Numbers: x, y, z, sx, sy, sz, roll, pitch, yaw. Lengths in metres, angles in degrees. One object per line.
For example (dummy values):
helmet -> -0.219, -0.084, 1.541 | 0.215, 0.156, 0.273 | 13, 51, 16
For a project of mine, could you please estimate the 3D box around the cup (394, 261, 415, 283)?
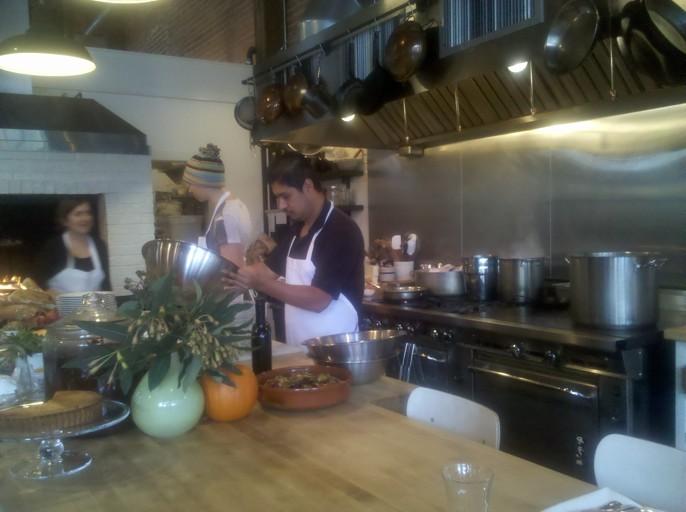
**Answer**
cup -> 0.481, 0.118, 4.147 | 0.140, 0.159, 0.144 | 0, -6, 0

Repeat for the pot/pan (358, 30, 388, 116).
pot/pan -> 0.158, -0.980, 2.791 | 0.147, 0.426, 0.245 | 0, 9, 2

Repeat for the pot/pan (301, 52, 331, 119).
pot/pan -> -0.157, -1.009, 3.115 | 0.112, 0.369, 0.412 | -5, 10, -24

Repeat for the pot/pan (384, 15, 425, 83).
pot/pan -> 0.294, -0.986, 2.520 | 0.122, 0.262, 0.211 | -5, 10, -27

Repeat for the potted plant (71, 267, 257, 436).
potted plant -> -0.547, 0.259, 1.696 | 0.499, 0.428, 0.488 | 2, -5, -7

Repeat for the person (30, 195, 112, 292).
person -> -2.511, -0.110, 4.879 | 0.824, 1.162, 0.432 | -1, -2, -30

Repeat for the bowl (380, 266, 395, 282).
bowl -> 0.349, 0.147, 4.151 | 0.110, 0.105, 0.111 | 0, -1, 0

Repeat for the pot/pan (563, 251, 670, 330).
pot/pan -> 1.232, 0.156, 2.374 | 0.472, 0.310, 0.331 | -1, -2, 17

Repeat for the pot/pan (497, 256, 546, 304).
pot/pan -> 1.047, 0.155, 3.206 | 0.288, 0.259, 0.228 | 1, 0, -7

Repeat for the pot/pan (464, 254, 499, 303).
pot/pan -> 0.882, 0.153, 3.365 | 0.262, 0.284, 0.251 | -2, 0, -35

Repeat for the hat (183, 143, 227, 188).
hat -> -0.949, -0.652, 3.689 | 0.293, 0.314, 0.310 | 12, 11, 0

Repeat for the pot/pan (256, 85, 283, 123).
pot/pan -> -0.484, -0.999, 3.449 | 0.109, 0.240, 0.176 | -7, 11, -36

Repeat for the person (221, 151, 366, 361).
person -> -0.353, 0.010, 3.244 | 0.880, 1.607, 0.896 | 0, 0, -21
